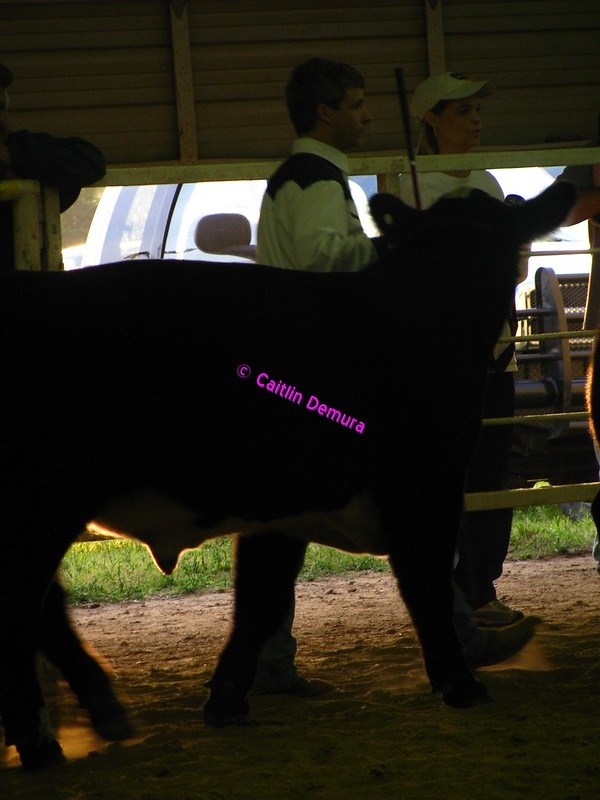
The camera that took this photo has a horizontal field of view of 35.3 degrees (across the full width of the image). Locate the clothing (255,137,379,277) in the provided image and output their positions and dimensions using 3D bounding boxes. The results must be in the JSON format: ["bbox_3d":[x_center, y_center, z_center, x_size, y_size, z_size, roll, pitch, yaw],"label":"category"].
[{"bbox_3d":[0.045,-0.522,2.548,0.297,0.349,0.499,-4,20,-21],"label":"clothing"}]
